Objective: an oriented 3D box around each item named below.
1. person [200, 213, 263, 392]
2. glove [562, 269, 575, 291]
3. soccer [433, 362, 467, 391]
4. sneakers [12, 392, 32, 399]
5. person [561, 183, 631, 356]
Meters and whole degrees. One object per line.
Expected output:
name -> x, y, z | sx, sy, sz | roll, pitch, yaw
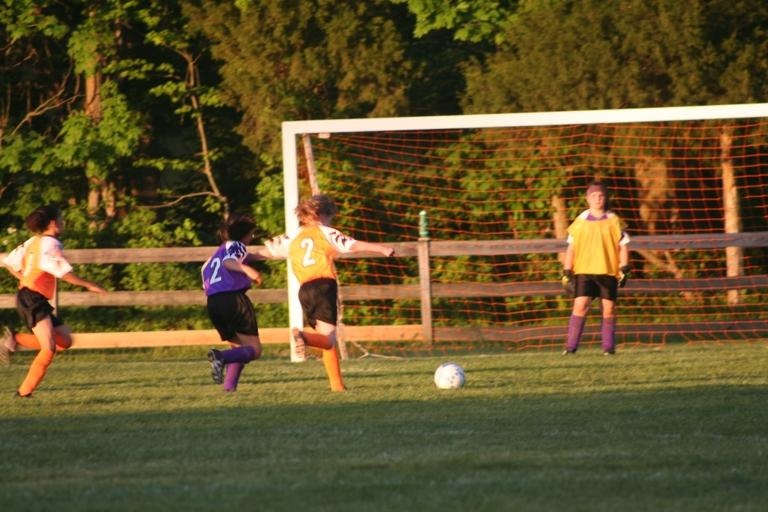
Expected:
person -> -1.913, 0.593, 20.089 | 0.695, 2.238, 0.596 | -3, 2, -6
glove -> 2.547, 0.326, 22.259 | 0.115, 0.255, 0.220 | -6, -12, 20
soccer -> 0.837, 1.522, 20.432 | 0.337, 0.248, 0.368 | 0, 5, 2
sneakers -> -4.597, 1.759, 20.247 | 0.154, 0.061, 0.098 | 0, 2, -6
person -> 2.915, 0.150, 22.076 | 0.967, 2.392, 0.371 | -3, 2, 5
